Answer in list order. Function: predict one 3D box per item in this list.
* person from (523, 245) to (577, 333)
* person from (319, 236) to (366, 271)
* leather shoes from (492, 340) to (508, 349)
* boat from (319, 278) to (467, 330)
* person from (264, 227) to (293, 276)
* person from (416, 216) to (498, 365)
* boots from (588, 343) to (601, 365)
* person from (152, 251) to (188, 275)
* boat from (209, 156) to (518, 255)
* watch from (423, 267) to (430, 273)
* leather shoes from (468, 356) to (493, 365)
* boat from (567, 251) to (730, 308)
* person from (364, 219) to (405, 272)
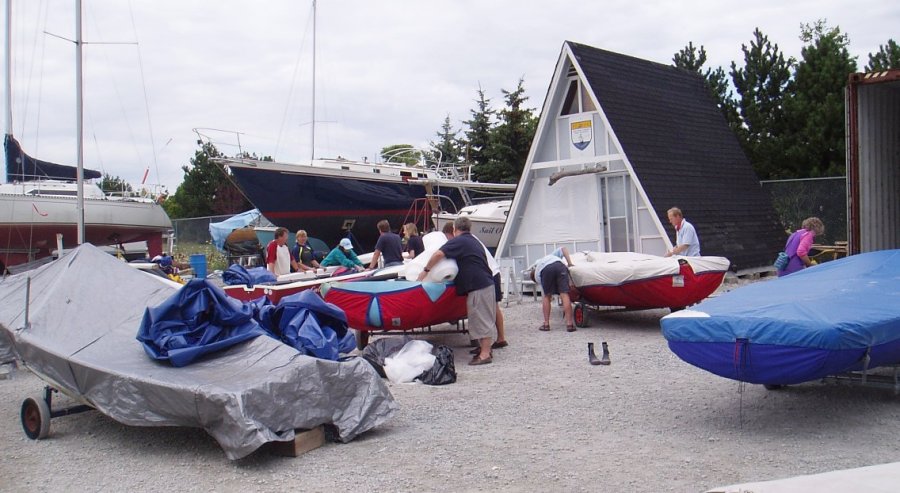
[{"bbox_3d":[2.258,0.834,15.828,0.941,1.885,0.865,2,-20,-13],"label":"person"},{"bbox_3d":[-2.633,0.186,17.874,1.427,0.657,0.532,3,7,42],"label":"person"},{"bbox_3d":[1.003,1.941,14.559,0.332,0.143,0.120,-6,6,29],"label":"leather shoes"},{"bbox_3d":[-1.430,1.371,15.613,2.265,0.965,3.723,1,-6,0],"label":"boat"},{"bbox_3d":[-4.183,0.124,17.751,0.597,1.096,0.942,-2,10,-13],"label":"person"},{"bbox_3d":[0.325,0.802,13.880,1.171,2.687,0.856,5,12,25],"label":"person"},{"bbox_3d":[2.690,1.961,13.608,0.214,0.320,0.505,2,9,9],"label":"boots"},{"bbox_3d":[-8.751,0.510,22.793,1.267,0.496,0.904,8,12,38],"label":"person"},{"bbox_3d":[-3.232,-1.678,30.706,13.513,3.636,2.936,2,-2,-37],"label":"boat"},{"bbox_3d":[-0.447,0.445,13.854,0.124,0.070,0.109,6,4,-26],"label":"watch"},{"bbox_3d":[0.569,2.132,13.685,0.448,0.139,0.152,1,-2,-2],"label":"leather shoes"},{"bbox_3d":[3.895,0.753,15.545,1.597,0.678,2.462,-2,-1,-33],"label":"boat"},{"bbox_3d":[-1.478,-0.049,16.749,0.703,1.090,2.276,-1,9,-7],"label":"person"}]
